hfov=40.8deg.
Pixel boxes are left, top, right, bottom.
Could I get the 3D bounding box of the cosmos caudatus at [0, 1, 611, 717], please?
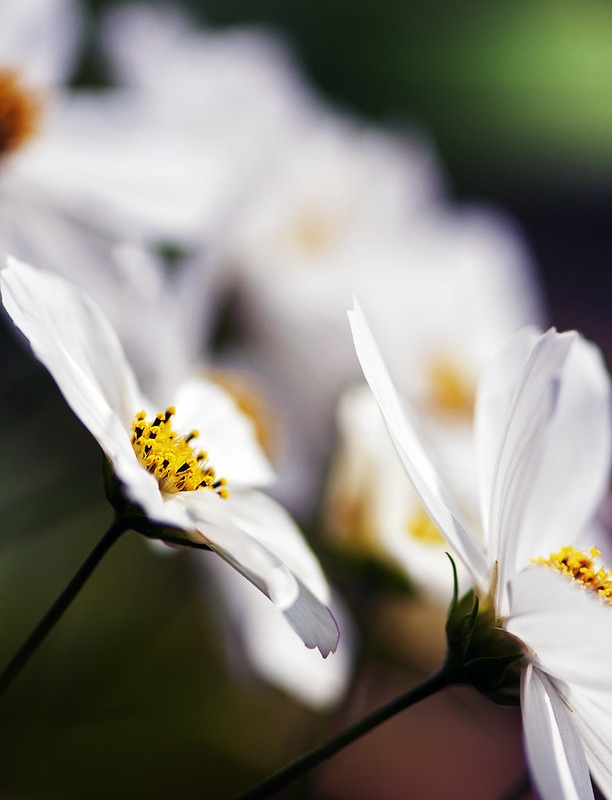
[{"bbox_3d":[-0.060,-0.022,0.656,0.166,0.457,0.451,-8,30,45],"label":"cosmos caudatus"}]
